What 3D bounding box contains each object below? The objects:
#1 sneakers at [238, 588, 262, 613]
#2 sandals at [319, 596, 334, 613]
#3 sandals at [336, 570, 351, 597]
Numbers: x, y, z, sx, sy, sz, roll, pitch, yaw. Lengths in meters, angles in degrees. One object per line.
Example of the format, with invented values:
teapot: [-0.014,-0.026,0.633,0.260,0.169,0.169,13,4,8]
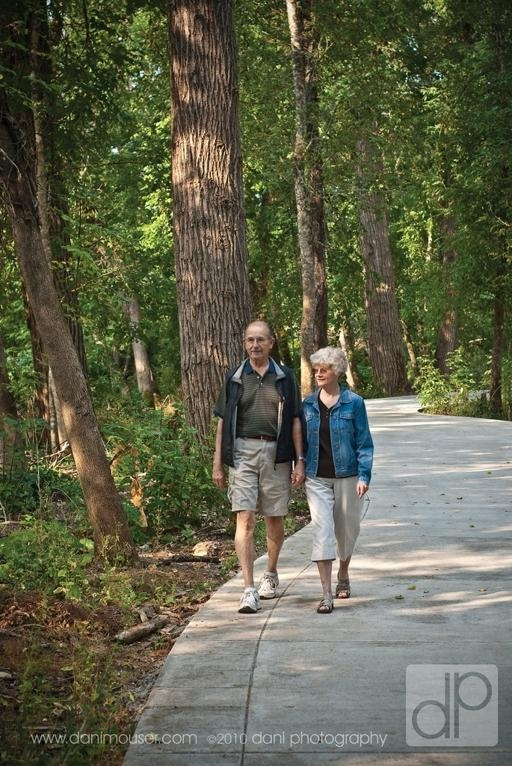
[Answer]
sneakers: [-0.034,1.304,5.138,0.091,0.105,0.242,-2,-12,3]
sandals: [0.415,1.310,5.088,0.069,0.058,0.201,-2,-9,8]
sandals: [0.560,1.295,5.531,0.102,0.117,0.303,-3,-17,5]
